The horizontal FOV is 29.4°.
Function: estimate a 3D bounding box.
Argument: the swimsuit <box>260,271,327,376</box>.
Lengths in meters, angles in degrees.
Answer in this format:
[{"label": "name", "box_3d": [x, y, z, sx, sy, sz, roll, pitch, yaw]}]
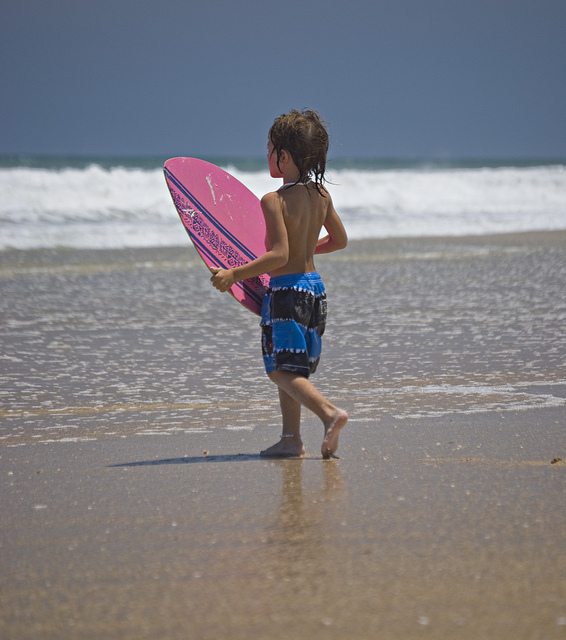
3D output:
[{"label": "swimsuit", "box_3d": [0.033, 0.015, 3.781, 0.226, 0.366, 0.253, 0, 14, -1]}]

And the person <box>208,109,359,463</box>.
[{"label": "person", "box_3d": [-0.007, -0.135, 3.787, 0.457, 1.168, 0.703, 1, 14, 1]}]

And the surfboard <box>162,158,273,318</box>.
[{"label": "surfboard", "box_3d": [-0.209, -0.355, 4.255, 0.320, 0.122, 0.843, 2, 41, -34]}]

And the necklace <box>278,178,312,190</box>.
[{"label": "necklace", "box_3d": [0.054, -0.481, 3.829, 0.146, 0.022, 0.035, -8, 53, -29]}]
